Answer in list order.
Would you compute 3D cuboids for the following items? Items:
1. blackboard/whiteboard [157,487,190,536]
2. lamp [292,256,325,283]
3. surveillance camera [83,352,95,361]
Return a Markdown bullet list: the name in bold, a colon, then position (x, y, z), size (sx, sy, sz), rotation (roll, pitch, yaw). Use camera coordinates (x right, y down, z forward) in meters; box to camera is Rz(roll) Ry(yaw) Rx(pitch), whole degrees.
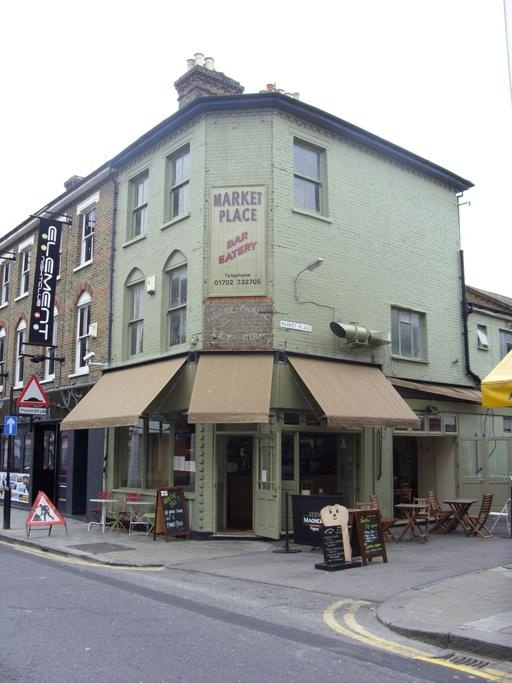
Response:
- **blackboard/whiteboard**: position (-1.793, 3.594, 14.422), size (0.835, 1.054, 0.494), rotation (8, -14, -37)
- **lamp**: position (1.174, -1.675, 15.338), size (0.636, 0.684, 1.243), rotation (-2, -11, 7)
- **surveillance camera**: position (-4.690, 0.371, 19.522), size (0.306, 0.090, 0.297), rotation (-25, -21, -31)
